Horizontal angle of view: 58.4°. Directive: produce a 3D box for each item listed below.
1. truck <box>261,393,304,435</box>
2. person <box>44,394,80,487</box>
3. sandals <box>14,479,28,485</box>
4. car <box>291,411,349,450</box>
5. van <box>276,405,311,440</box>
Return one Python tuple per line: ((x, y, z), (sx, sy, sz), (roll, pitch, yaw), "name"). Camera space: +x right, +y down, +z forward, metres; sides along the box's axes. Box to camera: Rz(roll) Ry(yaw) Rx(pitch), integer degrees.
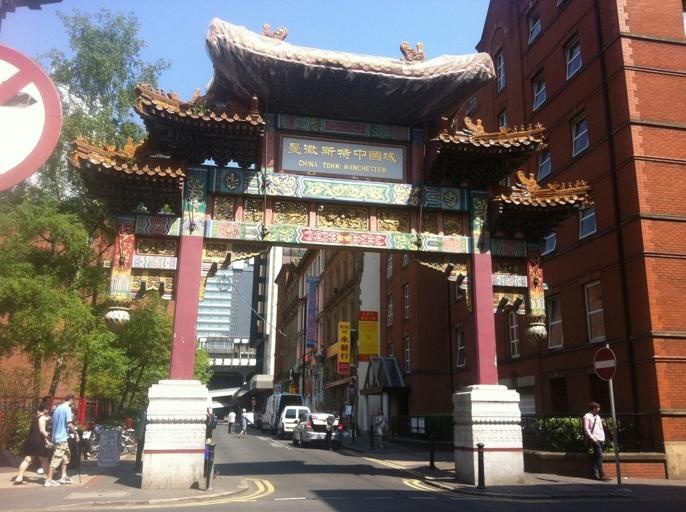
((-4.490, 11.202, 44.353), (1.999, 2.817, 5.359), (4, -13, -13), "truck")
((-8.098, 5.246, 17.763), (0.763, 2.393, 0.853), (1, -18, -18), "person")
((-9.025, 6.287, 17.138), (0.258, 0.129, 0.397), (8, -19, -25), "sandals")
((-1.369, 9.173, 32.597), (2.244, 1.861, 3.183), (2, -17, -9), "car")
((-3.252, 10.424, 38.648), (1.571, 1.541, 2.879), (2, -9, -6), "van")
